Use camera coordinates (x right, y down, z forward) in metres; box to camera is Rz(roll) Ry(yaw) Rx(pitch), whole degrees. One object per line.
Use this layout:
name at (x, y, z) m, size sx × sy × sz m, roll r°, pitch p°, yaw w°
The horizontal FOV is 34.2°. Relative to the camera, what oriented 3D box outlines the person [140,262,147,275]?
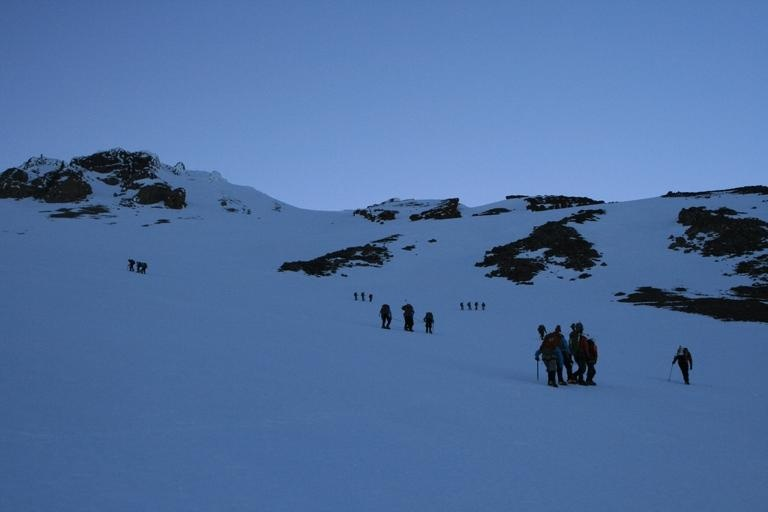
person at (-22.270, 1.154, 115.852) m, size 0.533 × 1.260 × 3.175 m, roll 3°, pitch 11°, yaw -10°
